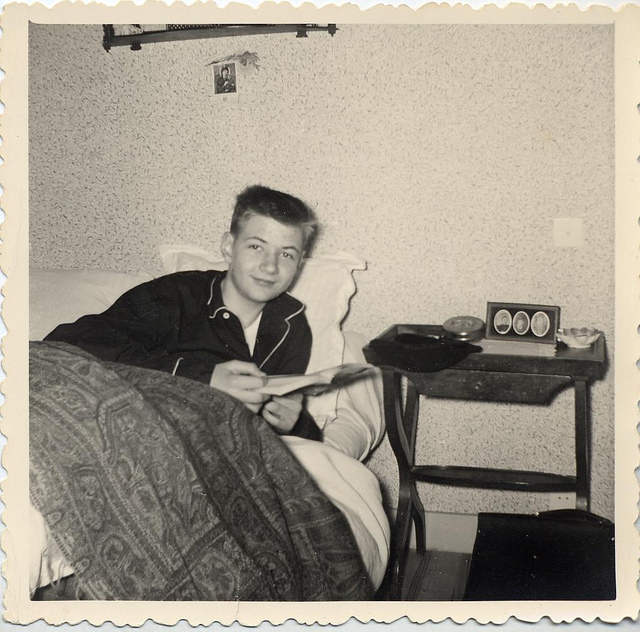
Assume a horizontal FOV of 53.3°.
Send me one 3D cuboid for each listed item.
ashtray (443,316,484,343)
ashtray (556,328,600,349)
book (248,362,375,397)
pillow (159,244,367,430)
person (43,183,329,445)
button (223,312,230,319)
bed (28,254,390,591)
[{"bbox_3d":[0.409,0.036,1.808,0.098,0.067,0.091,-1,8,-42],"label":"ashtray"},{"bbox_3d":[0.719,0.059,1.777,0.109,0.054,0.093,7,6,24],"label":"ashtray"},{"bbox_3d":[-0.029,0.178,1.815,0.340,0.108,0.041,4,6,-6],"label":"book"},{"bbox_3d":[-0.037,0.081,1.916,0.544,0.545,0.132,5,2,-12],"label":"pillow"},{"bbox_3d":[-0.276,-0.002,1.817,0.549,0.301,0.857,15,31,-9],"label":"person"},{"bbox_3d":[-0.272,-0.002,1.839,0.019,0.019,0.004,3,6,-7],"label":"button"},{"bbox_3d":[-0.317,0.213,1.809,1.098,0.833,0.427,5,6,11],"label":"bed"}]
